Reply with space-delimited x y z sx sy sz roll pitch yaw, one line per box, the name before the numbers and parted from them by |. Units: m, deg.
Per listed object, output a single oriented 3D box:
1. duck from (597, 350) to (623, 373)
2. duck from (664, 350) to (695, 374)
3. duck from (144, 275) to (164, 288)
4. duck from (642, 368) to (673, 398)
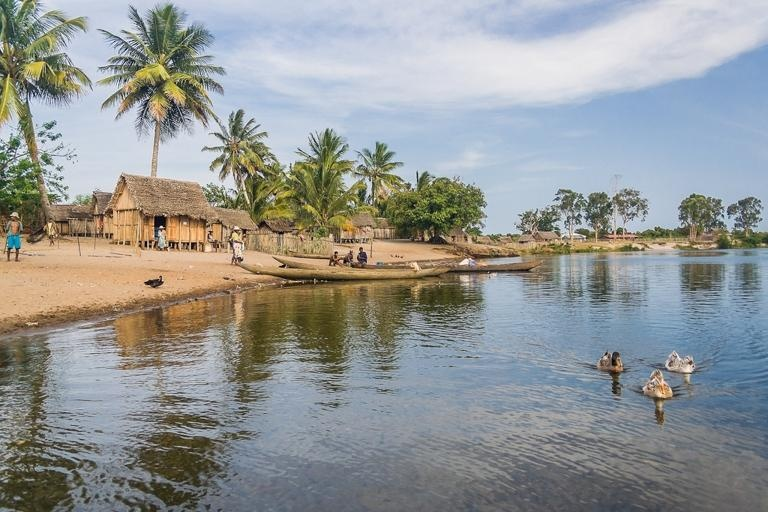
duck | 5.293 2.467 14.666 0.450 0.379 0.594 2 3 -4
duck | 6.813 2.501 14.682 0.514 0.343 0.672 2 0 -29
duck | -9.123 1.052 24.623 0.905 0.499 0.460 4 17 -9
duck | 5.685 2.701 13.156 0.527 0.332 0.642 0 3 11
